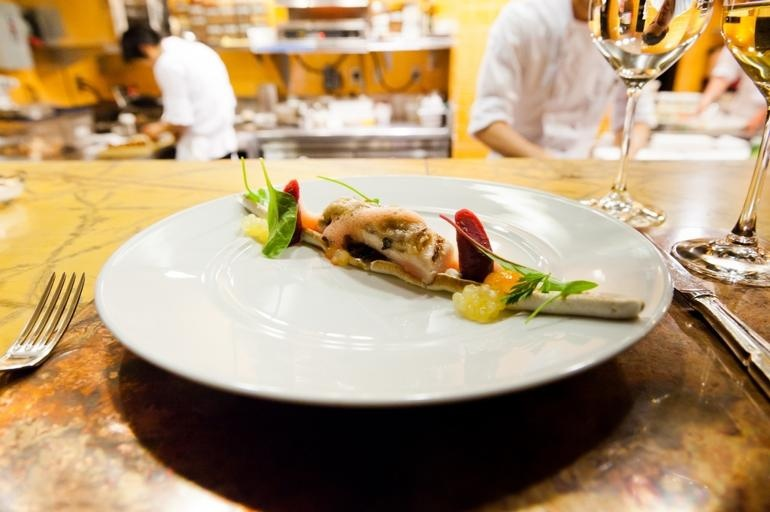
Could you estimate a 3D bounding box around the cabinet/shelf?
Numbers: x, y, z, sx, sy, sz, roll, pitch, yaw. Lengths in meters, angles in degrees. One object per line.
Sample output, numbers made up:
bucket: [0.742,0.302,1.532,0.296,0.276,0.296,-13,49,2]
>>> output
cabinet/shelf: [-0.243,-1.669,4.868,1.981,1.161,0.965,1,29,2]

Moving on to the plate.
plate: [-0.001,0.010,0.969,0.926,0.108,0.664,-3,27,-1]
